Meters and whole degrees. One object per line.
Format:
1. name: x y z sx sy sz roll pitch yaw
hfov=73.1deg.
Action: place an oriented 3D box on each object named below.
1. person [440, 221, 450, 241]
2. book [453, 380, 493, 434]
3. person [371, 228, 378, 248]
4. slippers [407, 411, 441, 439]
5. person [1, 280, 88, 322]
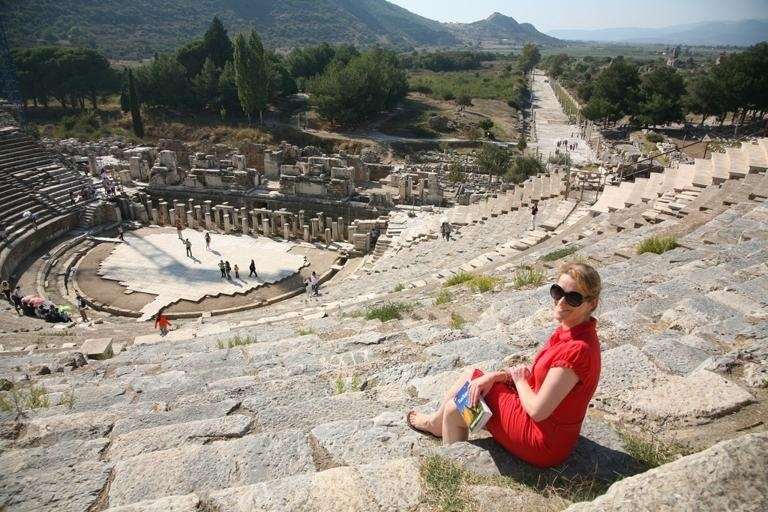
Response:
1. person: 2.661 -1.076 22.105 0.385 0.799 0.892 2 22 9
2. book: 1.006 1.869 6.428 0.134 0.602 0.638 -30 12 31
3. person: -0.502 -0.988 28.725 0.493 1.001 0.781 -1 22 2
4. slippers: 0.488 2.242 6.808 0.459 0.113 0.218 28 37 17
5. person: -13.709 1.851 20.836 1.973 0.847 0.518 23 39 -3
